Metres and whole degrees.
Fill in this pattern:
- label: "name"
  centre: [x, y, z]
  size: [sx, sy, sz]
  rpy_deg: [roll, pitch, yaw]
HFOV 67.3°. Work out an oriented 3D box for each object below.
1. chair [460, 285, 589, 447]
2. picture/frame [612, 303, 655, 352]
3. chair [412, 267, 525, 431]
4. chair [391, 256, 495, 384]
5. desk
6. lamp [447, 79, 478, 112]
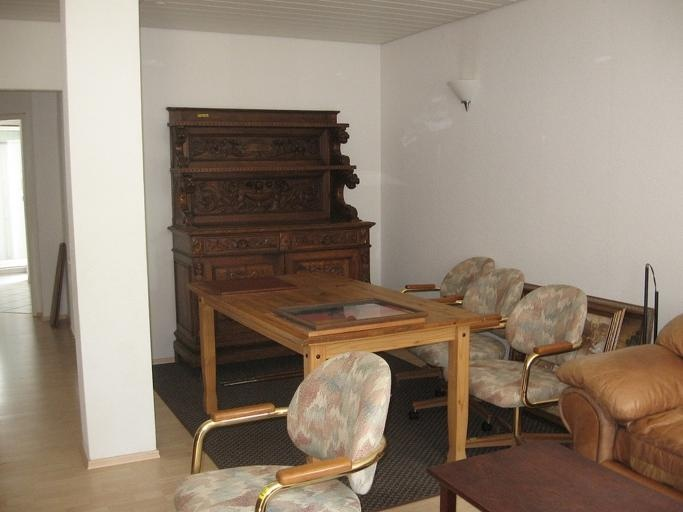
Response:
- label: "chair"
  centre: [1.159, 0.770, 3.421]
  size: [0.773, 1.119, 0.794]
  rpy_deg: [-4, 8, -28]
- label: "picture/frame"
  centre: [1.963, 0.493, 3.439]
  size: [0.045, 0.363, 0.323]
  rpy_deg: [12, -5, -26]
- label: "chair"
  centre: [0.865, 0.576, 4.014]
  size: [0.913, 1.101, 0.907]
  rpy_deg: [13, 18, 10]
- label: "chair"
  centre: [0.917, 0.562, 4.460]
  size: [0.791, 1.005, 0.786]
  rpy_deg: [19, 28, 36]
- label: "desk"
  centre: [0.050, 0.513, 3.305]
  size: [1.154, 0.938, 1.942]
  rpy_deg: [-4, 9, -29]
- label: "lamp"
  centre: [1.212, -1.537, 4.955]
  size: [0.350, 0.297, 0.337]
  rpy_deg: [-13, 16, -34]
